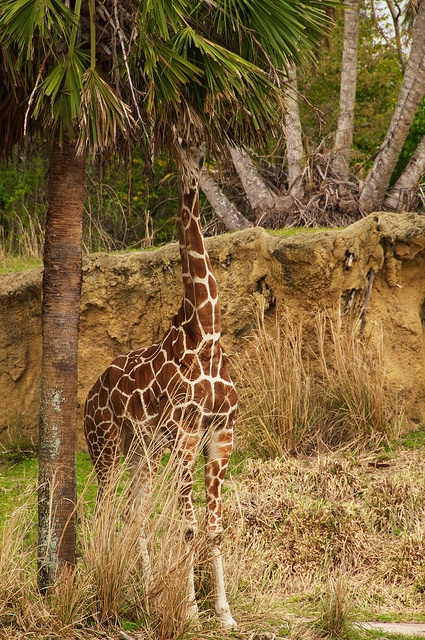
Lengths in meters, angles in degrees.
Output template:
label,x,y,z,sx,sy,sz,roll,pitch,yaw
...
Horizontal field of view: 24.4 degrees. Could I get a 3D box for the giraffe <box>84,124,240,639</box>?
label,x,y,z,sx,sy,sz,roll,pitch,yaw
giraffe,-0.258,0.280,6.144,0.698,2.766,1.650,-5,16,-24
